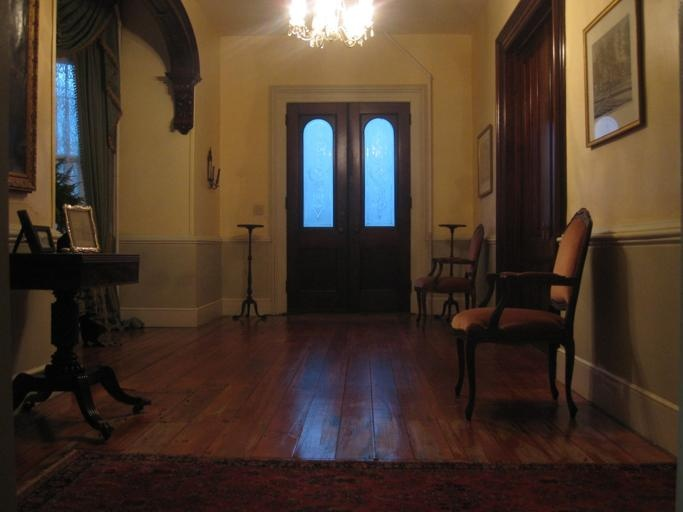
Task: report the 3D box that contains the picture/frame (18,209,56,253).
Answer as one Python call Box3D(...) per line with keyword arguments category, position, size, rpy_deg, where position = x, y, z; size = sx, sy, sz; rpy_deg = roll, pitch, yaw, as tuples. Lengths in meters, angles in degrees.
Box3D(category="picture/frame", position=(-1.770, -0.143, 3.135), size=(0.120, 0.254, 0.240), rpy_deg=(-3, 3, -1))

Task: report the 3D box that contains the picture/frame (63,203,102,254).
Box3D(category="picture/frame", position=(-1.543, -0.170, 3.251), size=(0.132, 0.278, 0.243), rpy_deg=(0, 5, 6))

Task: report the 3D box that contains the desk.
Box3D(category="desk", position=(-1.574, 0.404, 3.407), size=(0.832, 1.267, 0.947), rpy_deg=(2, 1, 8))
